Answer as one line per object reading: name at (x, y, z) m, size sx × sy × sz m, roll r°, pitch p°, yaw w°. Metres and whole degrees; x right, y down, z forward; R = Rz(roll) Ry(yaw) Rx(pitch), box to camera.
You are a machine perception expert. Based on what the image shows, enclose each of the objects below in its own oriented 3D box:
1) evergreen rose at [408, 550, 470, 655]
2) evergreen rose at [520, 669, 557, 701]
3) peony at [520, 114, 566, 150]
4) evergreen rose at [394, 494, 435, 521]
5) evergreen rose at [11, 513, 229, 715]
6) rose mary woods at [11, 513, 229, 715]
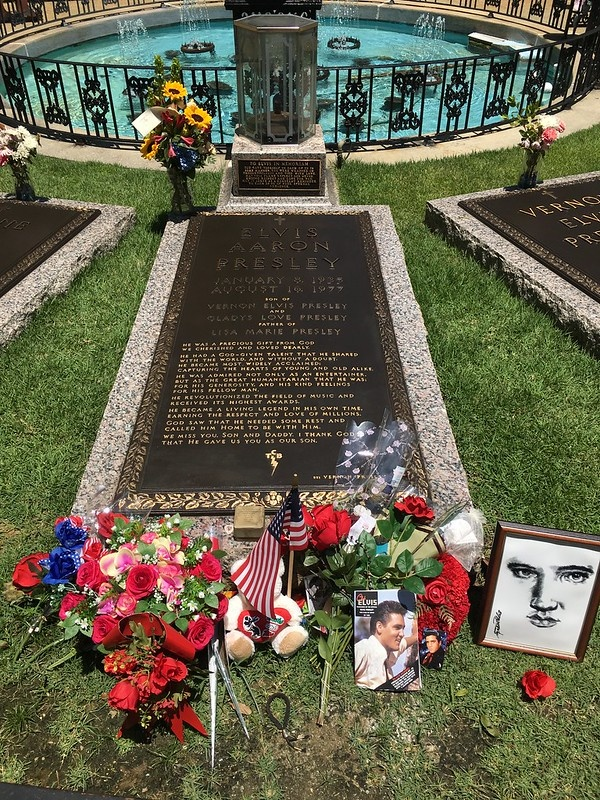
evergreen rose at (0.656, 0.958, 2.574) m, size 0.272 × 0.114 × 0.378 m, roll 18°, pitch 67°, yaw -1°
evergreen rose at (1.036, 1.233, 2.347) m, size 0.155 × 0.147 × 0.097 m, roll 5°, pitch 37°, yaw 10°
peony at (2.615, -2.924, 5.990) m, size 0.422 × 0.342 × 0.381 m, roll 13°, pitch 39°, yaw 20°
evergreen rose at (0.532, 0.505, 2.573) m, size 0.133 × 0.077 × 0.144 m, roll 33°, pitch 6°, yaw 28°
evergreen rose at (-0.773, 0.938, 2.325) m, size 0.677 × 0.468 × 0.823 m, roll -5°, pitch 37°, yaw -16°
rose mary woods at (-0.773, 0.938, 2.325) m, size 0.677 × 0.468 × 0.823 m, roll -5°, pitch 37°, yaw -16°
